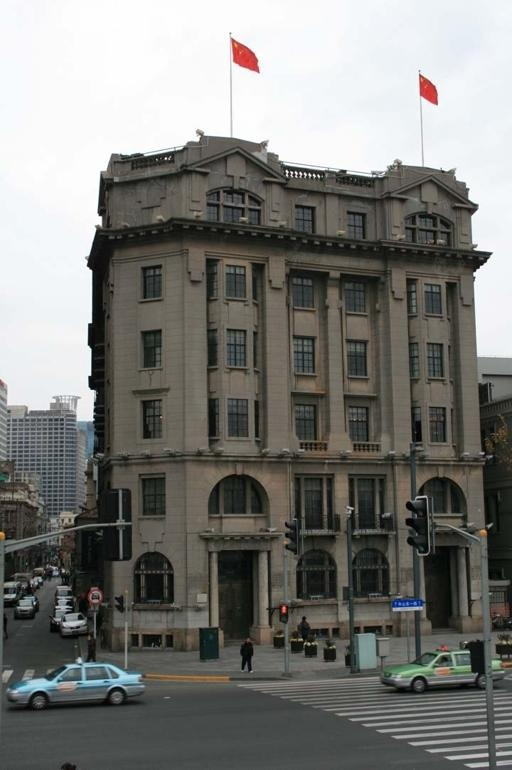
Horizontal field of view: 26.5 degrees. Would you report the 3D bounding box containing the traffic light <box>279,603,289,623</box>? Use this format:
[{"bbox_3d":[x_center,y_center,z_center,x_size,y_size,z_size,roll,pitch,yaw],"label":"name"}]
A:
[{"bbox_3d":[1.049,8.682,41.188,0.273,0.701,0.428,0,-11,-9],"label":"traffic light"}]
